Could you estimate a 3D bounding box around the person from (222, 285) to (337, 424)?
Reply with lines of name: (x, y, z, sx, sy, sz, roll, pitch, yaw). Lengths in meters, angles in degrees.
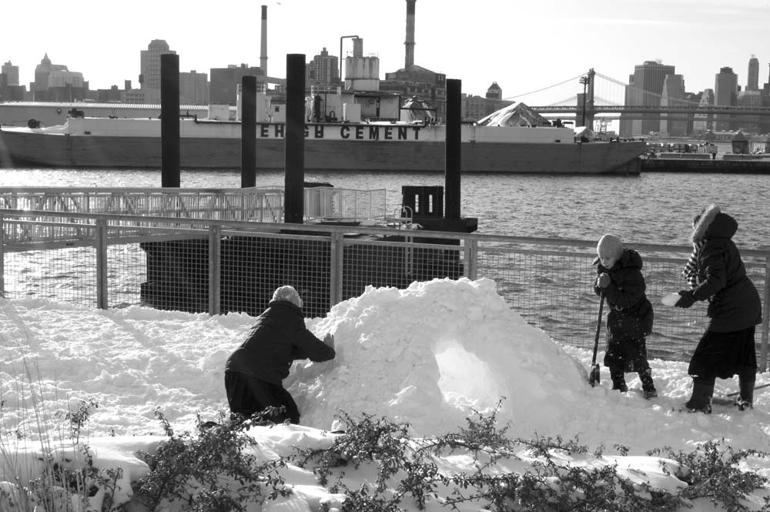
person: (-1.464, 1.664, 19.230, 1.581, 2.385, 0.981, 0, 10, -41)

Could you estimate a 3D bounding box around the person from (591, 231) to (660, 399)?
person: (3.193, 0.770, 18.801, 0.737, 2.105, 0.247, 0, 6, 9)

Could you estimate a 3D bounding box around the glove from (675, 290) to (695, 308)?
glove: (3.953, 0.571, 18.434, 0.270, 0.232, 0.155, 1, 6, 12)

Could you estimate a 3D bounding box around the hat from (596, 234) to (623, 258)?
hat: (3.022, -0.136, 18.808, 0.346, 0.298, 0.281, 0, 6, 4)

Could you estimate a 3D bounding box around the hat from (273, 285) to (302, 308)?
hat: (-1.332, 0.560, 19.095, 0.268, 0.323, 0.349, 2, 1, 1)

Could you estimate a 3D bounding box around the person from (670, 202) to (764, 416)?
person: (4.409, 0.695, 18.479, 1.046, 2.719, 0.536, 1, 6, 13)
